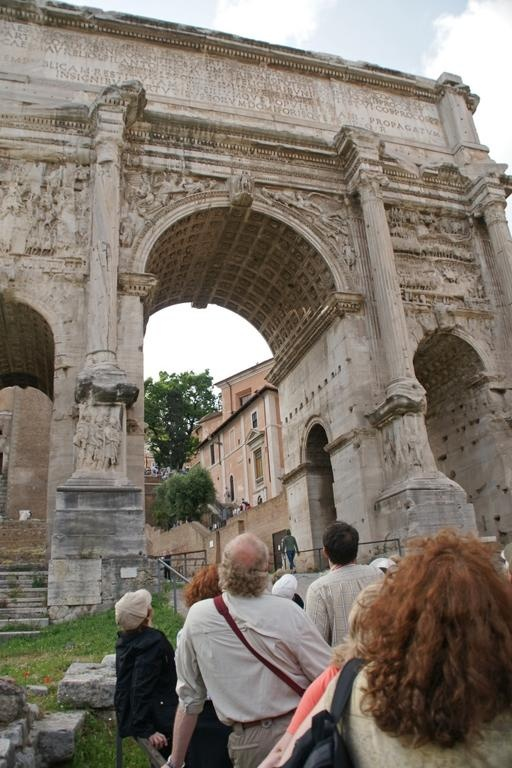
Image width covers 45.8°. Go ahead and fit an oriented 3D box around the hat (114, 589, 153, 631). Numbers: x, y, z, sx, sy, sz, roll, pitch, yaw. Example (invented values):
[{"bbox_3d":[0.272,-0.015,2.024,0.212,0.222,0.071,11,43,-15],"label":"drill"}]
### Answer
[{"bbox_3d":[-0.841,1.537,4.223,0.232,0.303,0.176,9,-28,14],"label":"hat"}]
